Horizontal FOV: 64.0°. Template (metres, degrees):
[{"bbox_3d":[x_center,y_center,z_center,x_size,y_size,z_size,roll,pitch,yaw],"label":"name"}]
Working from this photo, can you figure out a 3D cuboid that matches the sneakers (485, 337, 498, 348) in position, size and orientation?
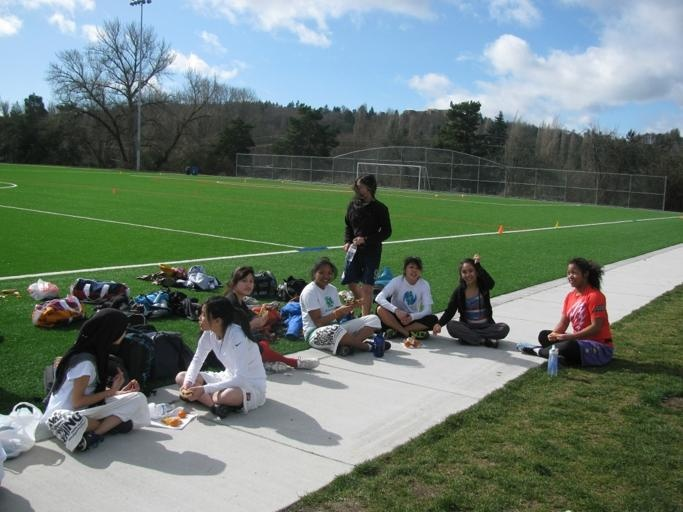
[{"bbox_3d":[2.008,1.151,7.263,0.232,0.111,0.104,-2,11,-17],"label":"sneakers"}]

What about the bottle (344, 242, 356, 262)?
[{"bbox_3d":[0.137,-0.057,7.809,0.139,0.274,0.112,3,10,9],"label":"bottle"}]

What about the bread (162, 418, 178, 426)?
[{"bbox_3d":[-1.535,1.497,4.934,0.081,0.021,0.084,7,8,-39],"label":"bread"}]

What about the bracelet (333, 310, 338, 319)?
[{"bbox_3d":[-0.094,0.747,7.096,0.042,0.054,0.062,-8,54,-17],"label":"bracelet"}]

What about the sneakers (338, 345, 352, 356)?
[{"bbox_3d":[0.033,1.168,6.878,0.132,0.137,0.131,0,-1,-28],"label":"sneakers"}]

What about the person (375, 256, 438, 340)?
[{"bbox_3d":[0.942,0.542,7.643,0.815,1.094,0.848,6,9,21],"label":"person"}]

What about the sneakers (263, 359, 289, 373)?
[{"bbox_3d":[-0.758,1.275,6.243,0.317,0.132,0.116,5,46,-1],"label":"sneakers"}]

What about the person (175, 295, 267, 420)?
[{"bbox_3d":[-1.183,0.967,5.375,0.910,1.113,0.905,2,4,36],"label":"person"}]

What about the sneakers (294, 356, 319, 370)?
[{"bbox_3d":[-0.408,1.238,6.347,0.268,0.124,0.110,-2,10,1],"label":"sneakers"}]

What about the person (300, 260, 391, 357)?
[{"bbox_3d":[-0.053,0.651,7.043,1.046,1.211,0.997,-1,4,25],"label":"person"}]

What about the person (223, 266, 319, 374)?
[{"bbox_3d":[-0.925,0.788,6.460,1.413,1.082,0.620,17,0,17],"label":"person"}]

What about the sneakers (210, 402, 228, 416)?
[{"bbox_3d":[-1.171,1.445,5.154,0.192,0.113,0.096,6,11,24],"label":"sneakers"}]

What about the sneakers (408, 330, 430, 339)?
[{"bbox_3d":[1.061,1.079,7.565,0.308,0.149,0.105,0,1,-18],"label":"sneakers"}]

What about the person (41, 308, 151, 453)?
[{"bbox_3d":[-2.114,1.013,4.703,0.542,1.081,0.751,11,14,42],"label":"person"}]

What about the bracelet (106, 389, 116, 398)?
[{"bbox_3d":[-2.004,1.187,4.750,0.067,0.068,0.056,39,1,31],"label":"bracelet"}]

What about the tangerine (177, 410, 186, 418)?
[{"bbox_3d":[-1.482,1.456,5.057,0.057,0.055,0.058,28,15,-20],"label":"tangerine"}]

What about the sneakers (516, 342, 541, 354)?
[{"bbox_3d":[2.385,1.188,7.078,0.324,0.152,0.120,11,16,29],"label":"sneakers"}]

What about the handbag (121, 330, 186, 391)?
[{"bbox_3d":[-1.980,1.082,5.798,0.500,0.564,0.561,-7,-4,7],"label":"handbag"}]

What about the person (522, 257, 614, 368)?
[{"bbox_3d":[2.755,0.674,6.868,1.038,1.318,0.997,-1,-1,29],"label":"person"}]
